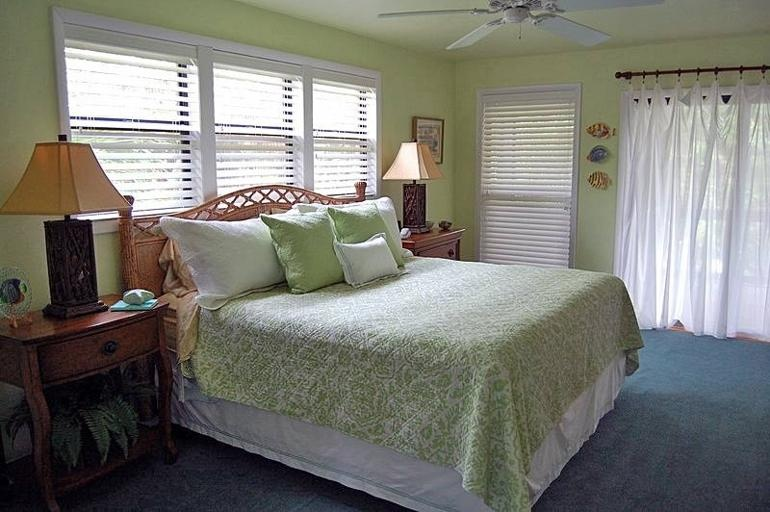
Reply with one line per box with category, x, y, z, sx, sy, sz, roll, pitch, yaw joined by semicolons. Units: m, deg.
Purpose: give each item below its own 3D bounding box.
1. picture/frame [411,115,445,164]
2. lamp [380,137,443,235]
picture/frame;0.486;-1.399;5.967;0.093;0.624;0.745;13;17;34
lamp;0.338;-0.760;5.602;0.751;0.976;0.755;-6;9;-32
